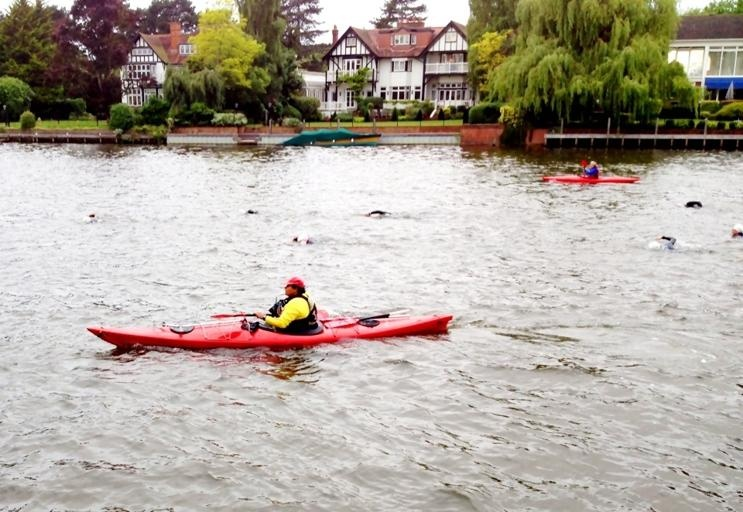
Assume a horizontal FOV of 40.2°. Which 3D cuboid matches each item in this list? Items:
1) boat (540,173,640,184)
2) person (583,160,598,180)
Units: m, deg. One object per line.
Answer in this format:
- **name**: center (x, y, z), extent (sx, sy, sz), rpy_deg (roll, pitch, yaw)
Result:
- **boat**: center (10.874, -3.832, 50.292), extent (3.897, 0.365, 0.756), rpy_deg (1, 20, 10)
- **person**: center (10.804, -4.273, 50.025), extent (0.738, 0.808, 1.613), rpy_deg (2, 8, 9)
